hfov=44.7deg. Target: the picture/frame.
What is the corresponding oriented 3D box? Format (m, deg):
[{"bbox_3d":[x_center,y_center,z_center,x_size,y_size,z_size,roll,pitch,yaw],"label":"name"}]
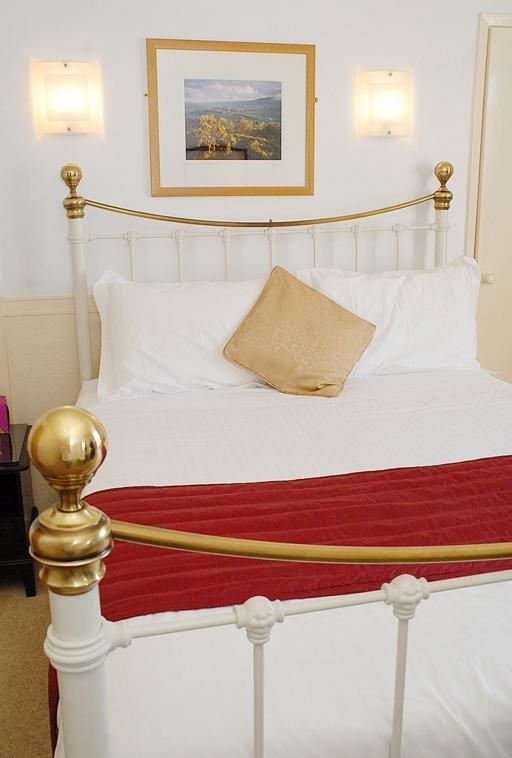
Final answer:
[{"bbox_3d":[-0.166,-1.030,2.543,0.694,0.589,0.020,19,15,32],"label":"picture/frame"}]
